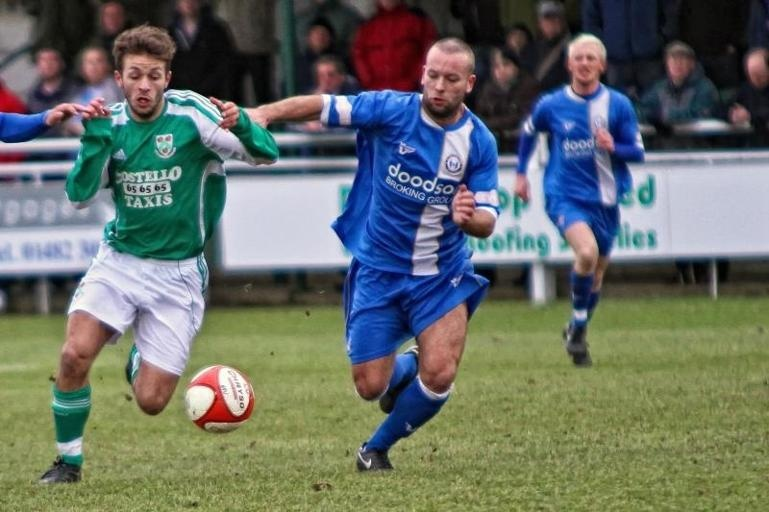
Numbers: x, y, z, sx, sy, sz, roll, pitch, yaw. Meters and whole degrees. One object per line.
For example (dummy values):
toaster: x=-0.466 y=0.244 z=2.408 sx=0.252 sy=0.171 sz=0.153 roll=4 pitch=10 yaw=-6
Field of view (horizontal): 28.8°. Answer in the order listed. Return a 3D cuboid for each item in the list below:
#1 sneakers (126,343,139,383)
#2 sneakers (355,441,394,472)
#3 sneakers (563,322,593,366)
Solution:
sneakers: x=-1.601 y=0.700 z=9.390 sx=0.100 sy=0.292 sz=0.126 roll=2 pitch=14 yaw=-2
sneakers: x=-0.063 y=1.219 z=9.002 sx=0.274 sy=0.123 sz=0.100 roll=-2 pitch=-2 yaw=33
sneakers: x=1.115 y=0.512 z=8.526 sx=0.196 sy=0.256 sz=0.574 roll=-2 pitch=-6 yaw=7
